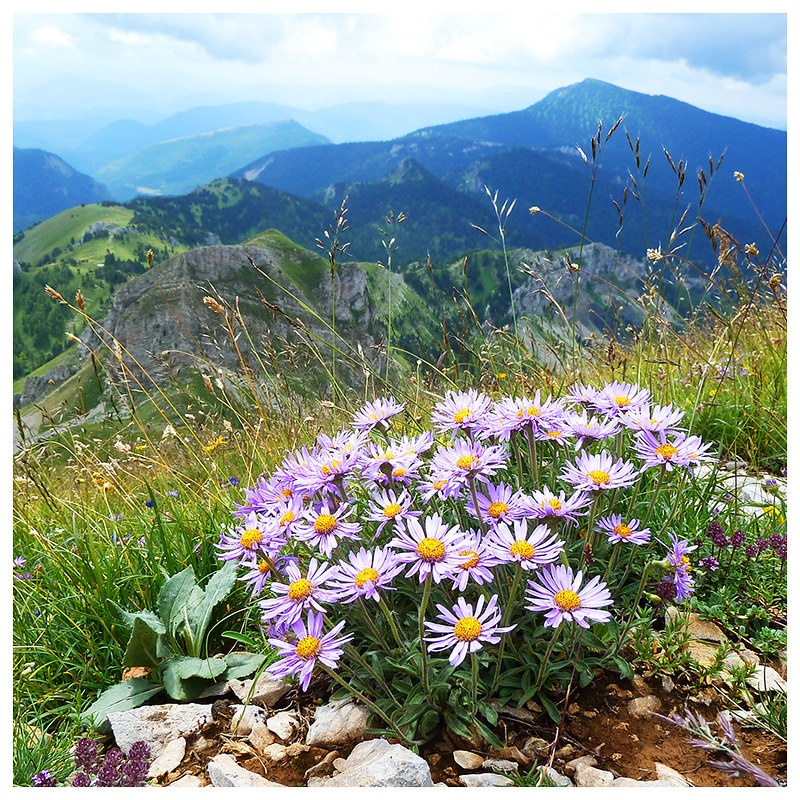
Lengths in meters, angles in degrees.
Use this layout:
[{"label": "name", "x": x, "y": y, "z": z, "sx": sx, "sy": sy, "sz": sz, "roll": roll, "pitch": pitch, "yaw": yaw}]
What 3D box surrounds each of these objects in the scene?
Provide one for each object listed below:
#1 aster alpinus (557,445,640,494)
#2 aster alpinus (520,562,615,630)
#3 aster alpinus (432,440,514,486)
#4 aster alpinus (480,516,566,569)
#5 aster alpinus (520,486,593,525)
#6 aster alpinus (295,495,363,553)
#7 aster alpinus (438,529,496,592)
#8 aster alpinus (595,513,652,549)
[{"label": "aster alpinus", "x": 0.872, "y": 0.319, "z": 2.780, "sx": 0.212, "sy": 0.117, "sz": 0.257, "roll": -2, "pitch": 31, "yaw": 14}, {"label": "aster alpinus", "x": 0.645, "y": 0.779, "z": 2.444, "sx": 0.329, "sy": 0.151, "sz": 0.357, "roll": -10, "pitch": -7, "yaw": -40}, {"label": "aster alpinus", "x": 0.301, "y": 0.267, "z": 2.807, "sx": 0.204, "sy": 0.124, "sz": 0.247, "roll": -11, "pitch": 21, "yaw": 4}, {"label": "aster alpinus", "x": 0.486, "y": 0.615, "z": 2.538, "sx": 0.287, "sy": 0.167, "sz": 0.327, "roll": -3, "pitch": 4, "yaw": -37}, {"label": "aster alpinus", "x": 0.656, "y": 0.439, "z": 2.689, "sx": 0.221, "sy": 0.137, "sz": 0.216, "roll": -17, "pitch": 13, "yaw": -36}, {"label": "aster alpinus", "x": -0.327, "y": 0.542, "z": 2.782, "sx": 0.207, "sy": 0.097, "sz": 0.248, "roll": -12, "pitch": 43, "yaw": -19}, {"label": "aster alpinus", "x": 0.305, "y": 0.615, "z": 2.587, "sx": 0.188, "sy": 0.188, "sz": 0.383, "roll": -4, "pitch": 19, "yaw": 17}, {"label": "aster alpinus", "x": 1.034, "y": 0.603, "z": 2.953, "sx": 0.138, "sy": 0.091, "sz": 0.171, "roll": 3, "pitch": 29, "yaw": 0}]
